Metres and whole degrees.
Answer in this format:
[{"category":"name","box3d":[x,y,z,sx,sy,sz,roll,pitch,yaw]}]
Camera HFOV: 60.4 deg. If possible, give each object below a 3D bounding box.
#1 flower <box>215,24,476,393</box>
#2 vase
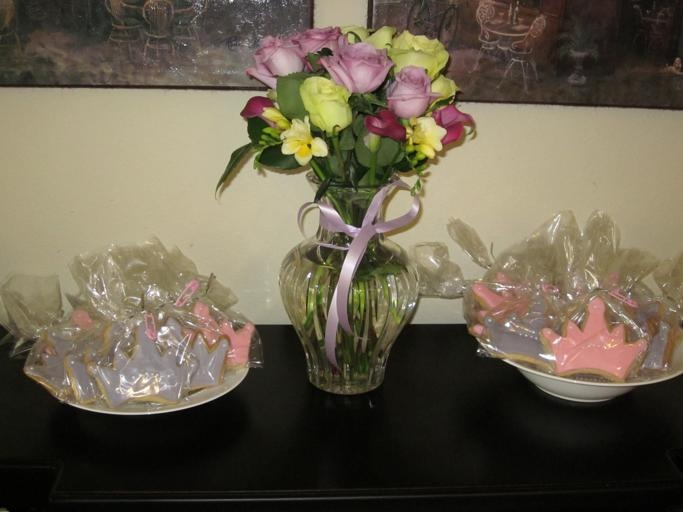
[{"category":"flower","box3d":[0.039,-0.064,1.191,0.366,0.688,0.486,8,21,20]},{"category":"vase","box3d":[0.018,0.029,1.278,0.363,0.591,0.352,0,12,-3]}]
